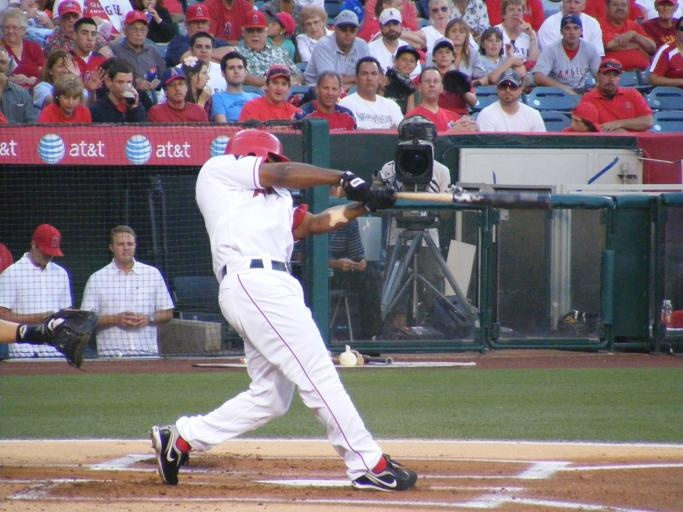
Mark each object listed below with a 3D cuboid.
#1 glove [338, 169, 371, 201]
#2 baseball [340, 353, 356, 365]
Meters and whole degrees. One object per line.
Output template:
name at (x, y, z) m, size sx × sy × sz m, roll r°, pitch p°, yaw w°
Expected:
glove at (0.132, -0.648, 19.413) m, size 0.283 × 0.245 × 0.180 m, roll -2°, pitch -1°, yaw 0°
baseball at (0.081, 1.066, 22.402) m, size 0.133 × 0.173 × 0.131 m, roll 0°, pitch -1°, yaw -9°
